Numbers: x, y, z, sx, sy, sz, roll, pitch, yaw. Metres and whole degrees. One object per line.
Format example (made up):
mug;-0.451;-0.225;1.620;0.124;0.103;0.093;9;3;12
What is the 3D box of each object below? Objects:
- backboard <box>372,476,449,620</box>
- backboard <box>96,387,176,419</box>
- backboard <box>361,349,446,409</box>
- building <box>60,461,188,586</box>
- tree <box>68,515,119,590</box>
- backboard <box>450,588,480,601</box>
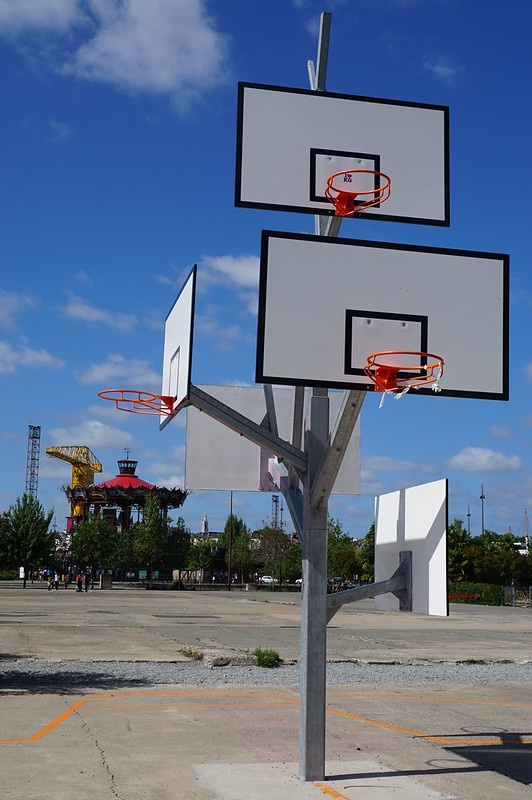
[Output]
backboard;1.211;1.273;7.049;0.046;1.168;1.353;-6;-8;40
backboard;-0.733;0.016;5.324;0.345;0.085;0.290;1;-14;15
backboard;0.928;-0.206;6.190;0.571;0.348;0.651;10;-7;-23
building;-14.013;10.556;81.914;11.041;9.928;11.441;3;-9;-2
tree;-15.045;13.804;75.194;4.815;6.440;5.350;-7;-10;33
backboard;12.517;12.438;53.037;1.764;0.555;1.858;-1;-9;16
